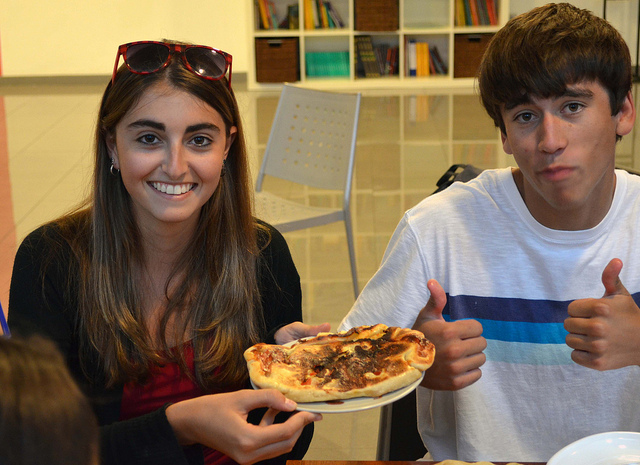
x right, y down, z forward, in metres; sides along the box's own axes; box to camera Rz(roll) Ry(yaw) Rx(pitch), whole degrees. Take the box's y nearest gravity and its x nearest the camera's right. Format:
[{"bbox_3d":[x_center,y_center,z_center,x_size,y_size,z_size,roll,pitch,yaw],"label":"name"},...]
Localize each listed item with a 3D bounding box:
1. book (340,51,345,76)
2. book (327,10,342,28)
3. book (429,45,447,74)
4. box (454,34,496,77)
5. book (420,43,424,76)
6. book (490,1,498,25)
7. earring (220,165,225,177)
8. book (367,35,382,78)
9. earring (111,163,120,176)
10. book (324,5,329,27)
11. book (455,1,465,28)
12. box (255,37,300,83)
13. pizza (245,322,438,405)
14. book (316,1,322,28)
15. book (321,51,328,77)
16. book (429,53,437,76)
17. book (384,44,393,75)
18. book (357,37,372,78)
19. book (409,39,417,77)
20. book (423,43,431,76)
[{"bbox_3d":[0.297,-2.259,8.062,0.027,0.311,0.051,-2,7,27],"label":"book"},{"bbox_3d":[0.187,-2.798,7.885,0.147,0.229,0.040,-5,6,2],"label":"book"},{"bbox_3d":[1.610,-2.344,8.181,0.068,0.306,0.298,-20,40,9],"label":"book"},{"bbox_3d":[1.997,-2.333,7.927,0.479,0.571,0.245,-4,6,8],"label":"box"},{"bbox_3d":[1.370,-2.335,8.097,0.059,0.267,0.262,-3,18,9],"label":"book"},{"bbox_3d":[2.299,-2.889,7.921,0.095,0.309,0.062,-9,7,-32],"label":"book"},{"bbox_3d":[-0.264,-0.166,1.633,0.010,0.032,0.042,-6,7,-9],"label":"earring"},{"bbox_3d":[0.696,-2.397,8.072,0.085,0.388,0.363,-9,19,17],"label":"book"},{"bbox_3d":[-0.540,-0.166,1.582,0.023,0.032,0.010,-2,7,25],"label":"earring"},{"bbox_3d":[0.081,-2.829,7.869,0.045,0.178,0.181,-6,17,14],"label":"book"},{"bbox_3d":[1.832,-2.879,7.938,0.061,0.275,0.286,-3,2,10],"label":"book"},{"bbox_3d":[-0.606,-2.314,8.018,0.541,0.544,0.437,-2,26,-6],"label":"box"},{"bbox_3d":[0.053,0.267,1.210,0.243,0.038,0.186,-2,17,-3],"label":"pizza"},{"bbox_3d":[-0.013,-2.834,7.858,0.047,0.211,0.208,-6,23,11],"label":"book"},{"bbox_3d":[0.058,-2.243,8.049,0.074,0.319,0.026,-10,8,-38],"label":"book"},{"bbox_3d":[1.525,-2.264,8.193,0.047,0.190,0.202,-13,23,5],"label":"book"},{"bbox_3d":[0.922,-2.355,8.126,0.056,0.302,0.328,11,8,2],"label":"book"},{"bbox_3d":[0.596,-2.335,8.052,0.157,0.518,0.057,-11,8,-41],"label":"book"},{"bbox_3d":[1.244,-2.328,8.062,0.079,0.366,0.357,2,8,10],"label":"book"},{"bbox_3d":[1.434,-2.336,8.104,0.069,0.316,0.309,-3,17,12],"label":"book"}]
